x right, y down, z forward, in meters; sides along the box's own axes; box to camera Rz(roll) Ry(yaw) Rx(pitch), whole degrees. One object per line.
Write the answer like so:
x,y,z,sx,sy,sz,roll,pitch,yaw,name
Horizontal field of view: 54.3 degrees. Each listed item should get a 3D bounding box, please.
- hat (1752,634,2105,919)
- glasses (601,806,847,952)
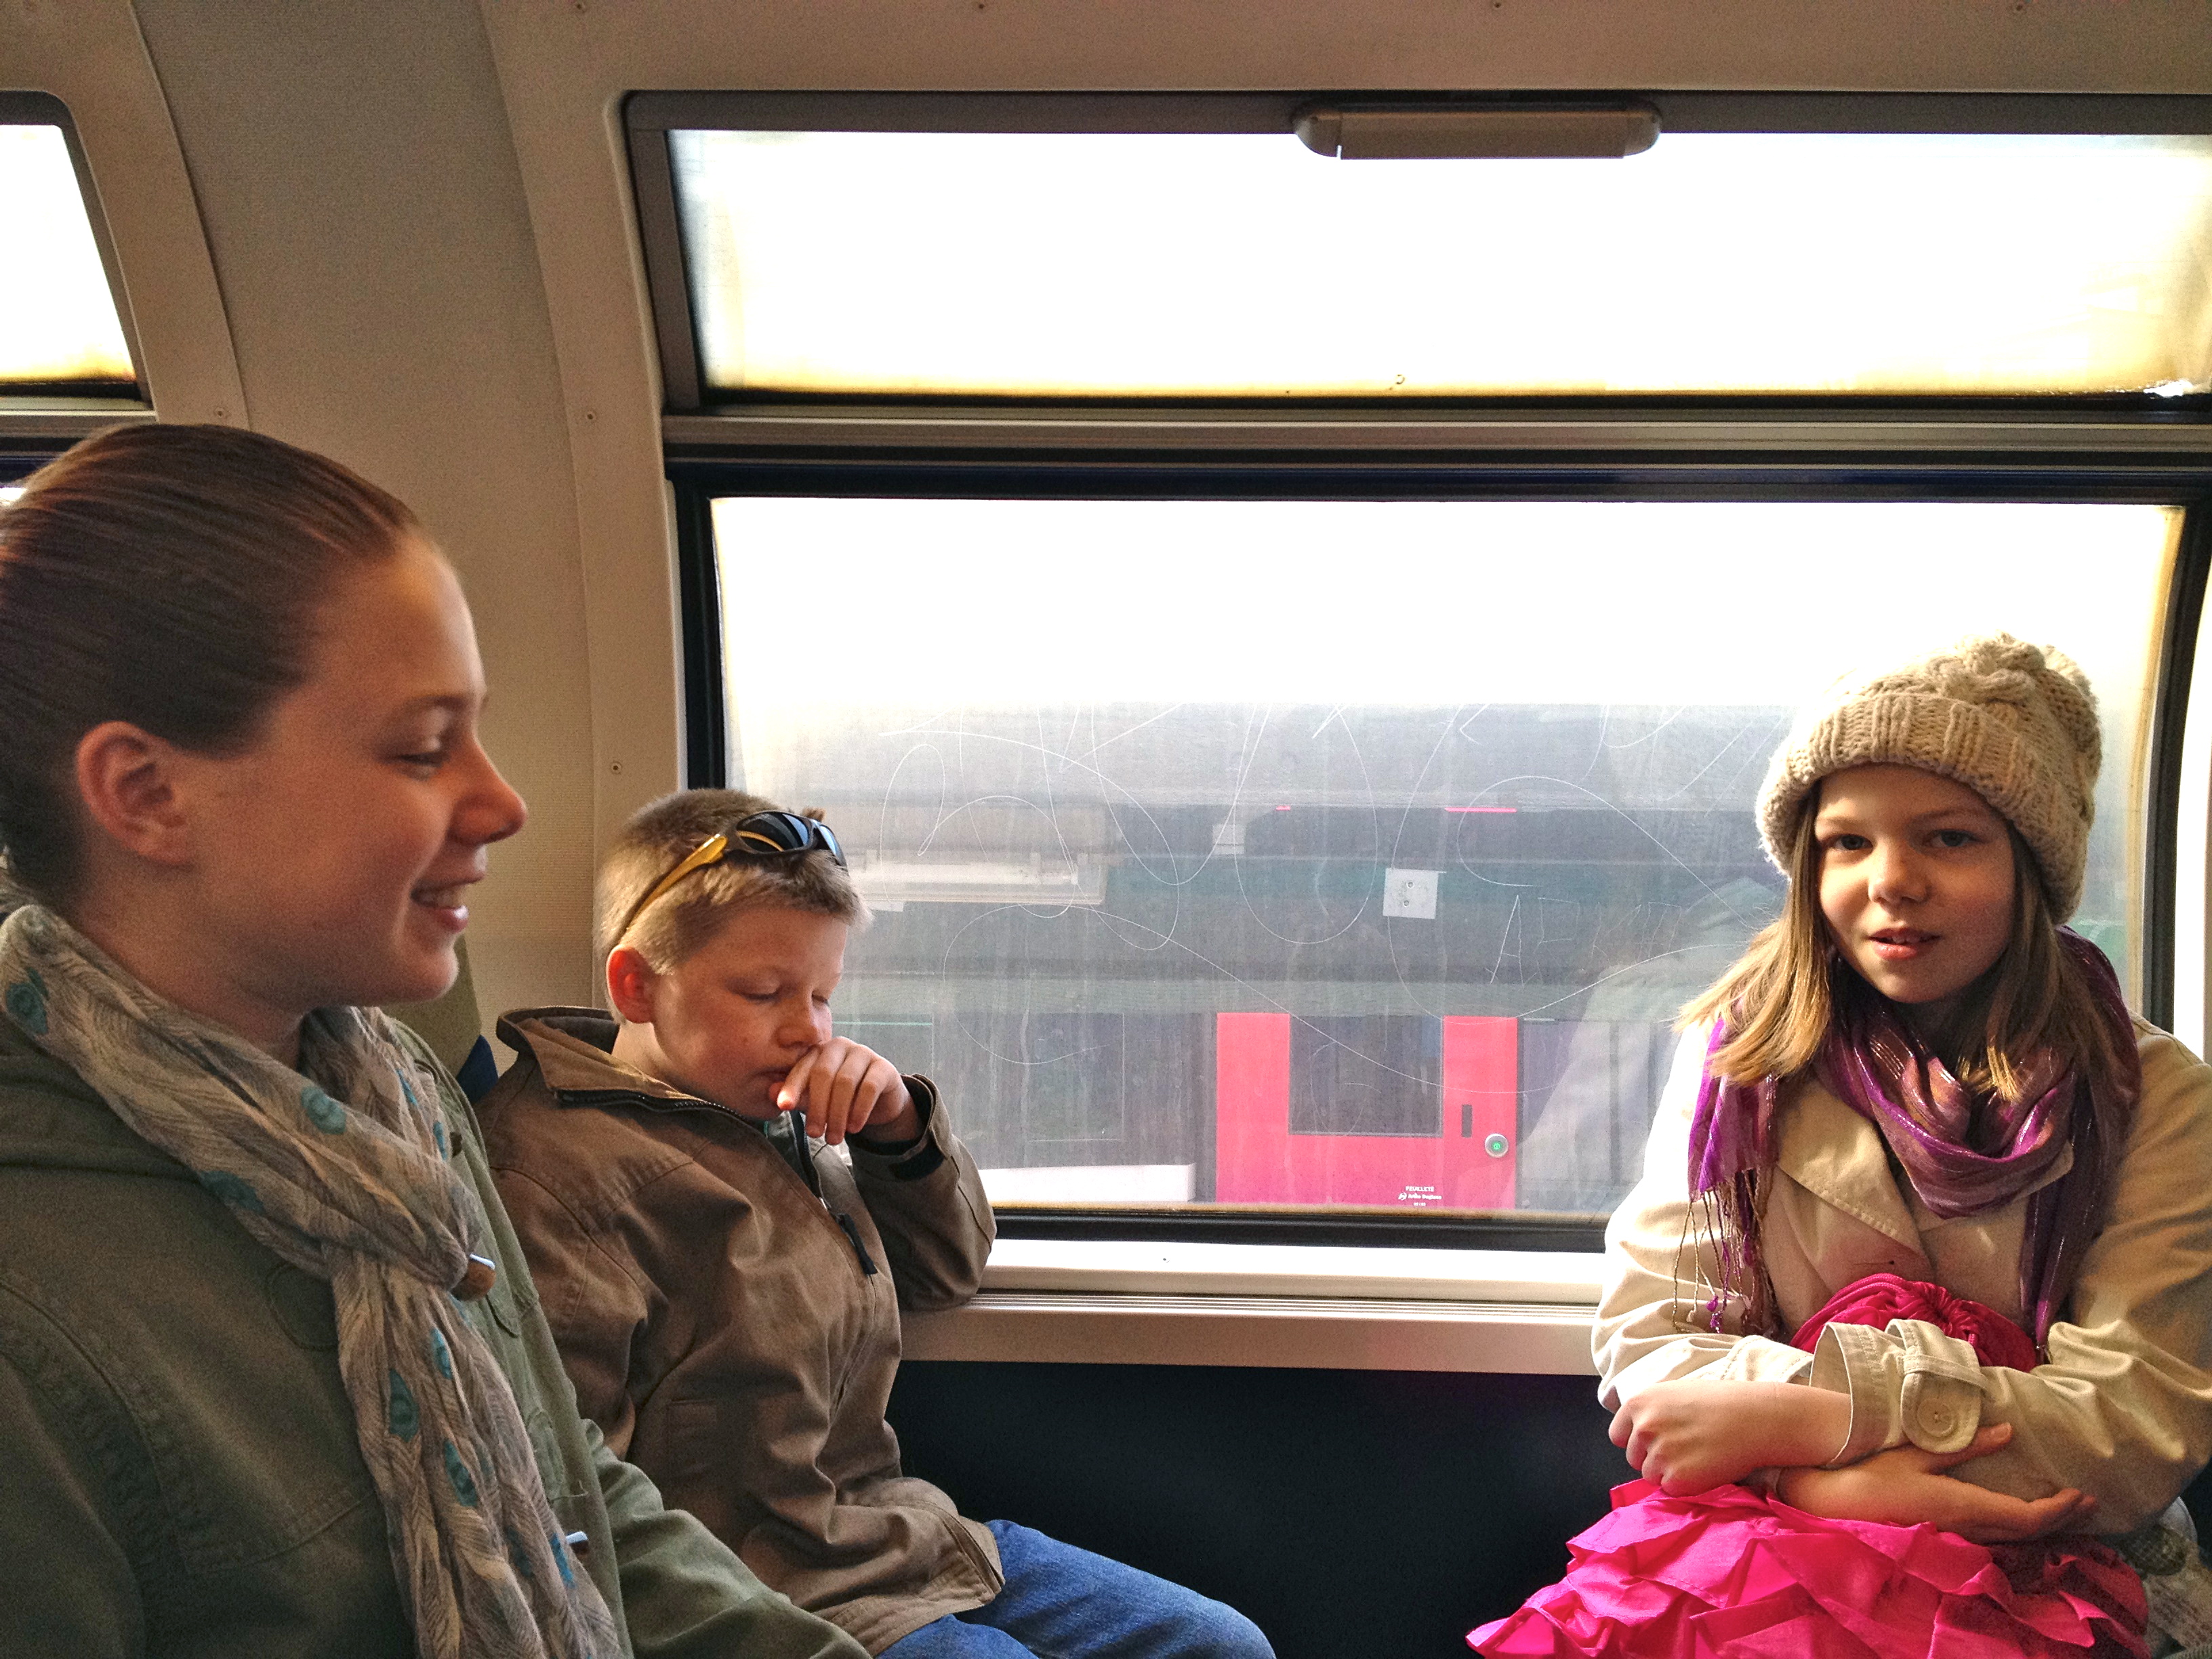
1.091,-0.061,2.833,0.359,0.314,0.420,2,-4,24,hat
-0.504,0.060,2.793,0.251,0.065,0.200,-30,-14,13,glasses
